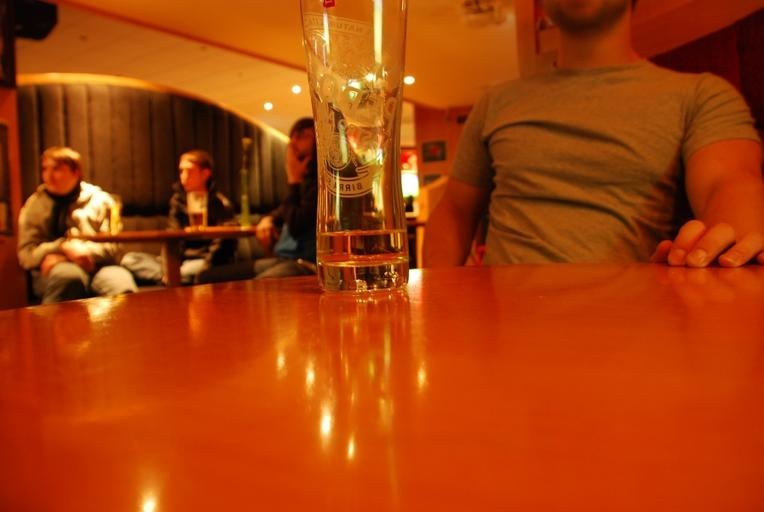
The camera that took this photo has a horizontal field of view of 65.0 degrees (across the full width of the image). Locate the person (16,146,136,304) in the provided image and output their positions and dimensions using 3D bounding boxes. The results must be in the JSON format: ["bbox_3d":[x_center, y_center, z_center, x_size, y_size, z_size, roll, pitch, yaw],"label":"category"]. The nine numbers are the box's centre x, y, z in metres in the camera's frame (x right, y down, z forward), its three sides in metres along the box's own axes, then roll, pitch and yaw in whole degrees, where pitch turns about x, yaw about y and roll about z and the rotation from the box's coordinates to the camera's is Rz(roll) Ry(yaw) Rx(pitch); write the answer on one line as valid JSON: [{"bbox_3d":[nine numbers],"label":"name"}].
[{"bbox_3d":[-1.273,-0.034,2.422,0.368,0.803,0.521,-4,4,-28],"label":"person"}]

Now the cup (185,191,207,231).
[{"bbox_3d":[-0.653,-0.164,2.124,0.060,0.121,0.140,-6,9,-20],"label":"cup"}]
